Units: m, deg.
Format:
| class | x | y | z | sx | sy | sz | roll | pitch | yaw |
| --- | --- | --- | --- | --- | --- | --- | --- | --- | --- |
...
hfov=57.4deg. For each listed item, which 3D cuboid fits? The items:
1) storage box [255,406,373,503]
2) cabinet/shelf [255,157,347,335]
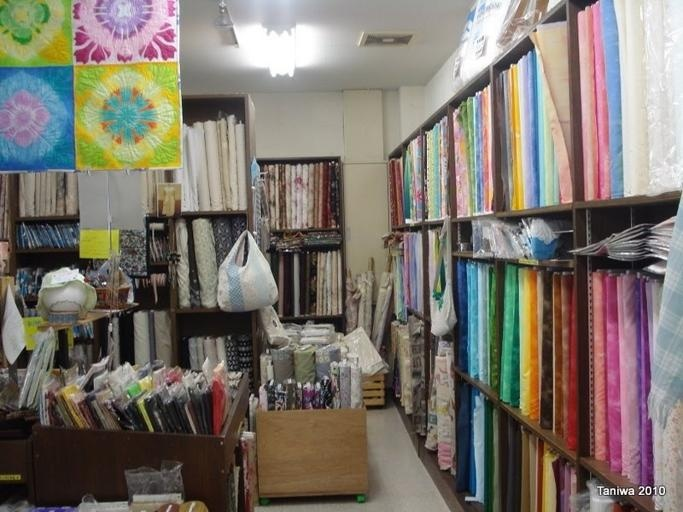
| class | x | y | z | sx | sy | sz | roll | pitch | yaw |
| --- | --- | --- | --- | --- | --- | --- | --- | --- | --- |
| storage box | -0.206 | 1.260 | 4.004 | 0.539 | 0.502 | 0.599 | -1 | -4 | 2 |
| cabinet/shelf | -0.371 | -0.094 | 6.333 | 0.826 | 1.798 | 0.452 | -2 | 4 | -2 |
